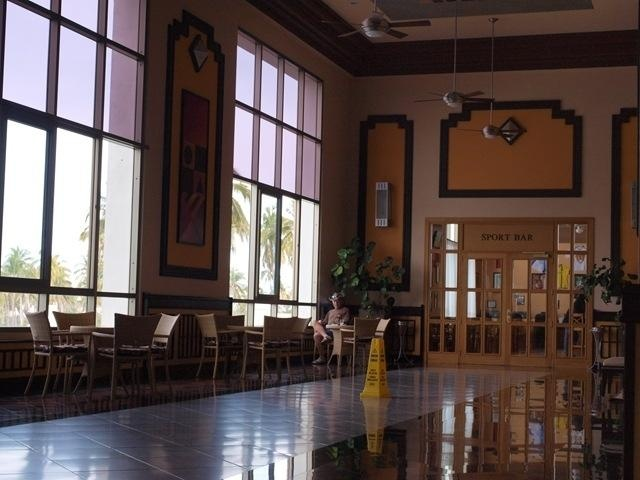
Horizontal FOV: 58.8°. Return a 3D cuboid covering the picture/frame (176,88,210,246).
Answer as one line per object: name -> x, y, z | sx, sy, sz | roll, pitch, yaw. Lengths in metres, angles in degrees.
picture/frame -> -2.099, -1.203, 9.570 | 0.080, 2.625, 0.945 | -8, 20, -44

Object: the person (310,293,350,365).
person -> 0.164, 1.832, 12.005 | 0.735, 1.573, 1.260 | -7, -19, 33

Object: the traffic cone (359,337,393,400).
traffic cone -> 0.739, 1.681, 7.540 | 0.379, 0.739, 0.877 | 2, -8, 5
